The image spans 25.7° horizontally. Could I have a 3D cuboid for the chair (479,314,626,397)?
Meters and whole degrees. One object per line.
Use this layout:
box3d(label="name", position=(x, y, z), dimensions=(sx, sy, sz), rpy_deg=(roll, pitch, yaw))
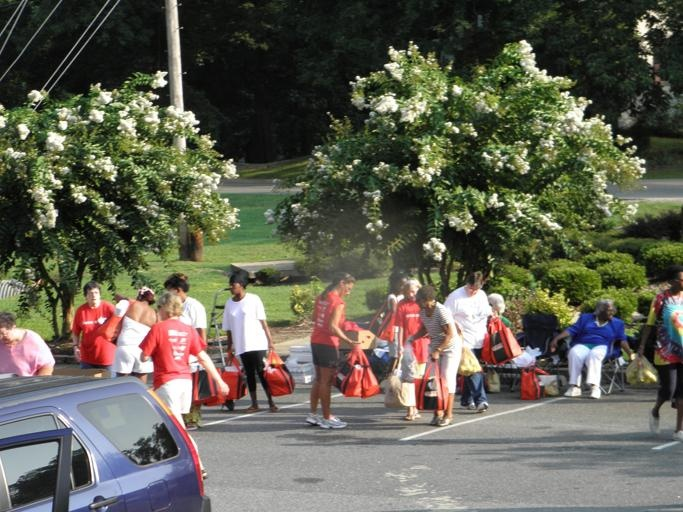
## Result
box3d(label="chair", position=(4.751, 2.073, 33.540), dimensions=(1.606, 2.105, 1.882), rpy_deg=(1, -9, 31))

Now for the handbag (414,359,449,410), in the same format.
box3d(label="handbag", position=(1.927, 2.732, 32.012), dimensions=(0.664, 1.028, 0.304), rpy_deg=(-2, 0, 0))

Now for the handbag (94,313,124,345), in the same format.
box3d(label="handbag", position=(-4.937, 1.558, 32.253), dimensions=(0.606, 0.700, 0.258), rpy_deg=(37, 1, 9))

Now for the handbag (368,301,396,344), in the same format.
box3d(label="handbag", position=(1.081, 1.503, 33.924), dimensions=(0.356, 0.828, 0.671), rpy_deg=(6, 22, -36))

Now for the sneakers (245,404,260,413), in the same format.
box3d(label="sneakers", position=(-1.940, 3.357, 33.195), dimensions=(0.362, 0.123, 0.116), rpy_deg=(0, -2, 1))

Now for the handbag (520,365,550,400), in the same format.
box3d(label="handbag", position=(4.413, 2.857, 33.713), dimensions=(0.731, 0.788, 0.602), rpy_deg=(-1, -3, -1))

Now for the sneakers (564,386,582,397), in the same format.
box3d(label="sneakers", position=(5.173, 3.024, 33.591), dimensions=(0.428, 0.161, 0.165), rpy_deg=(2, -5, -41))

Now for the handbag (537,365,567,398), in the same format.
box3d(label="handbag", position=(4.787, 2.821, 34.000), dimensions=(0.685, 0.589, 0.651), rpy_deg=(-9, 12, -37))

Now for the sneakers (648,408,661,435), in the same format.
box3d(label="sneakers", position=(6.488, 3.433, 31.167), dimensions=(0.237, 0.455, 0.209), rpy_deg=(-6, 7, -6))

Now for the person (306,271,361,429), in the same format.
box3d(label="person", position=(-0.264, 2.027, 32.225), dimensions=(1.065, 3.153, 1.158), rpy_deg=(-2, 0, -2))

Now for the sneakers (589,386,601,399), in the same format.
box3d(label="sneakers", position=(5.703, 3.005, 33.419), dimensions=(0.304, 0.323, 0.187), rpy_deg=(-2, -1, -39))

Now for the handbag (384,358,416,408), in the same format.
box3d(label="handbag", position=(1.265, 2.690, 32.061), dimensions=(0.648, 1.018, 0.253), rpy_deg=(-2, 0, 1))

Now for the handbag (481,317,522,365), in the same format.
box3d(label="handbag", position=(3.560, 1.930, 33.661), dimensions=(0.892, 0.968, 0.473), rpy_deg=(-24, -5, 6))

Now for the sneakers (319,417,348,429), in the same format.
box3d(label="sneakers", position=(-0.186, 3.534, 32.007), dimensions=(0.423, 0.144, 0.278), rpy_deg=(1, 0, -4))

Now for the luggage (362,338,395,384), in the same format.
box3d(label="luggage", position=(0.924, 2.240, 34.647), dimensions=(0.673, 0.246, 0.543), rpy_deg=(-29, 13, 25))

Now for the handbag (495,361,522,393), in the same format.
box3d(label="handbag", position=(3.855, 2.766, 34.566), dimensions=(0.818, 0.690, 0.661), rpy_deg=(-2, -4, 23))
